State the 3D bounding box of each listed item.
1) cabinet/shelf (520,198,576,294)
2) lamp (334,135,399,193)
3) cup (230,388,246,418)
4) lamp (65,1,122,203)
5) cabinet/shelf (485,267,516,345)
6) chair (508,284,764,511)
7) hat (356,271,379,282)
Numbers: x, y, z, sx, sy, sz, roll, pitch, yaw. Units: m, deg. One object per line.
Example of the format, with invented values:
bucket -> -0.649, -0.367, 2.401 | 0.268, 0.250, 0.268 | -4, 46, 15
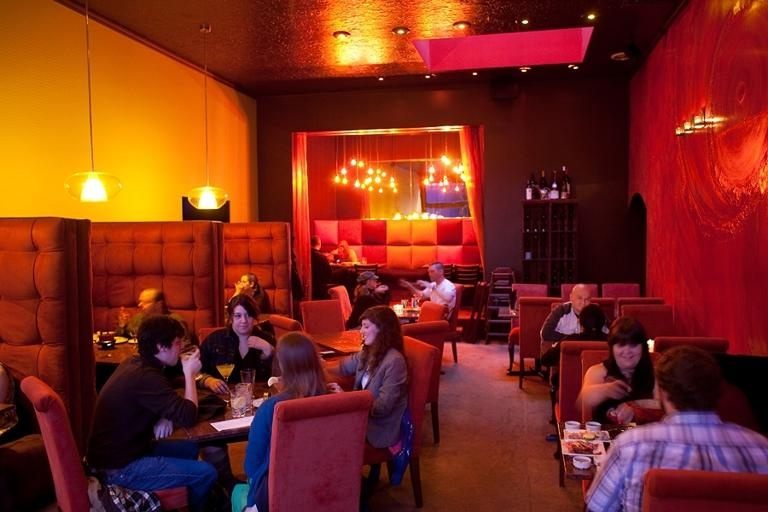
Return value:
cabinet/shelf -> 2.941, -0.176, 10.378 | 0.967, 1.639, 0.371 | -3, 0, 13
lamp -> -0.436, -2.136, 15.104 | 1.641, 0.949, 1.514 | -3, -1, -2
cup -> -1.123, 1.104, 4.453 | 0.165, 0.226, 0.080 | -3, 0, 41
lamp -> -3.628, -1.924, 7.178 | 0.532, 2.364, 1.636 | -3, 0, -28
cabinet/shelf -> 2.030, 0.935, 10.222 | 0.444, 1.264, 1.225 | 2, 0, 12
chair -> 1.739, 0.978, 4.124 | 0.853, 0.975, 1.516 | 0, -2, 4
hat -> -0.200, 0.296, 8.186 | 0.260, 0.099, 0.169 | -1, 0, -35
